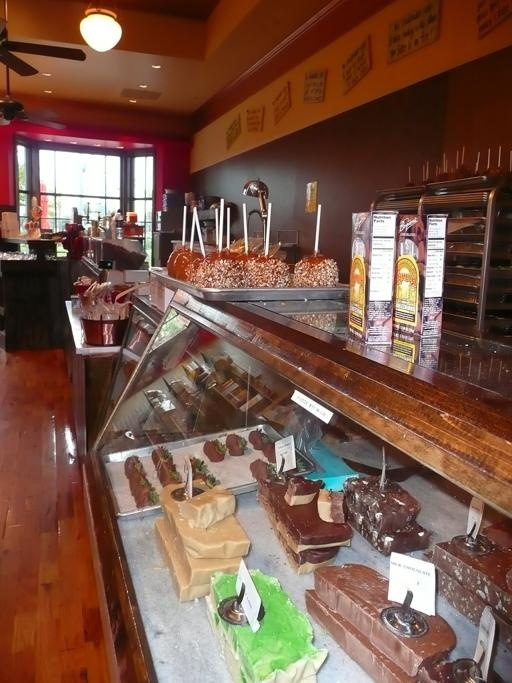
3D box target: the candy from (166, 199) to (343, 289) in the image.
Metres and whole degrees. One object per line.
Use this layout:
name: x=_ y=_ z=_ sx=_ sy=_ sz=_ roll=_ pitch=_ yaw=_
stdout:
candy: x=-0.028 y=-0.292 z=1.295 sx=0.425 sy=0.252 sz=0.687 roll=-2 pitch=11 yaw=-12
